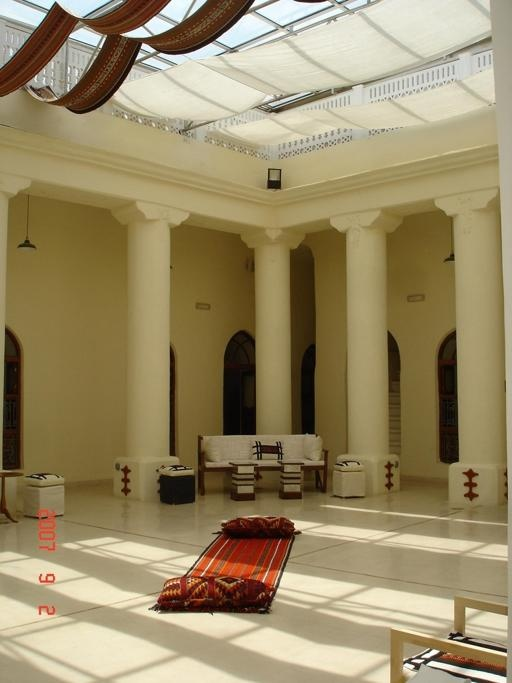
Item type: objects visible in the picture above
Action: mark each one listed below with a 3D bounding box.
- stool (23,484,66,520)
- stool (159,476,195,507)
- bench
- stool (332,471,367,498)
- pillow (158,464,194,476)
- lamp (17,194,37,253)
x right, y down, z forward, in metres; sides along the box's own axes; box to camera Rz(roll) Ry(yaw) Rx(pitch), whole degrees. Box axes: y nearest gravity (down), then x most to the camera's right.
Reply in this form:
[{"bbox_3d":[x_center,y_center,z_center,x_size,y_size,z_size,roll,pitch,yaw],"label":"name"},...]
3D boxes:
[{"bbox_3d":[-3.236,2.388,8.826,0.548,0.548,0.524,4,-8,-41],"label":"stool"},{"bbox_3d":[-1.377,2.589,10.330,0.515,0.518,0.512,2,-4,-41],"label":"stool"},{"bbox_3d":[0.086,2.434,11.600,2.433,1.115,0.833,1,-8,-8],"label":"bench"},{"bbox_3d":[1.739,2.663,11.109,0.517,0.571,0.525,2,-6,-16],"label":"stool"},{"bbox_3d":[-1.450,2.291,10.315,0.656,0.170,0.464,-3,-5,38],"label":"pillow"},{"bbox_3d":[-4.552,-2.406,11.619,0.325,1.448,1.528,2,-4,-22],"label":"lamp"}]
